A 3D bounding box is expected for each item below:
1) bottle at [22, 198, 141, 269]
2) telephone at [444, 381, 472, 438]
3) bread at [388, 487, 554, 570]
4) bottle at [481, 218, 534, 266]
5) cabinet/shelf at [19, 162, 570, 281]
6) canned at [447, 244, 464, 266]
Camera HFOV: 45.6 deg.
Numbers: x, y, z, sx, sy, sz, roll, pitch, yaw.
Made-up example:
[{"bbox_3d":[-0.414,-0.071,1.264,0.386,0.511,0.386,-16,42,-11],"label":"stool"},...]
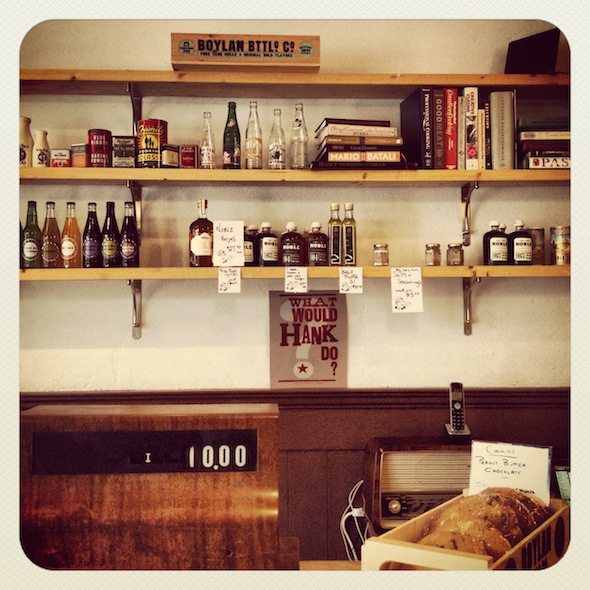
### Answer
[{"bbox_3d":[-0.825,-0.224,2.674,0.254,0.258,0.089,1,-6,-11],"label":"bottle"},{"bbox_3d":[0.612,0.429,2.649,0.085,0.182,0.137,-1,5,11],"label":"telephone"},{"bbox_3d":[0.590,0.672,2.064,0.476,0.122,0.254,-3,5,-13],"label":"bread"},{"bbox_3d":[0.813,-0.194,2.679,0.177,0.216,0.073,1,-8,-3],"label":"bottle"},{"bbox_3d":[-0.037,-0.258,2.672,2.051,0.483,0.394,-2,5,-3],"label":"cabinet/shelf"},{"bbox_3d":[0.617,-0.155,2.743,0.068,0.109,0.078,1,-7,-1],"label":"canned"}]
